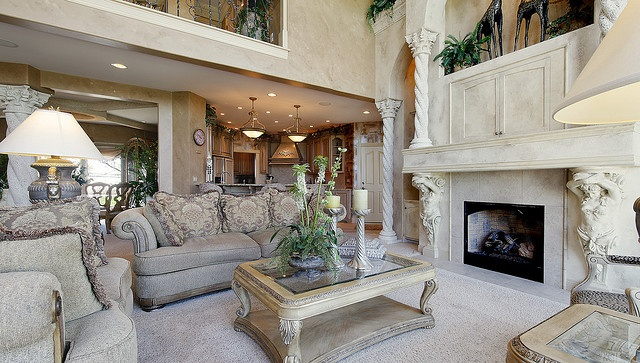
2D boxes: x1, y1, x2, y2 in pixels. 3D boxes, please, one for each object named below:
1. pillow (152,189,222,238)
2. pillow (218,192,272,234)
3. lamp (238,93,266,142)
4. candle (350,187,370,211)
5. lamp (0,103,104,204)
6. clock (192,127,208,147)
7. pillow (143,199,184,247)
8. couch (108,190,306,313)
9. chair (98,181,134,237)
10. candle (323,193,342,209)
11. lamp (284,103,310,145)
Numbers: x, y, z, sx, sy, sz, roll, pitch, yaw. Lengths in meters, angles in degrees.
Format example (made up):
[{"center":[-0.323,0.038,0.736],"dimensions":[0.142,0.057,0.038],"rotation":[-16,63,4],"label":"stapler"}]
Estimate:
[{"center":[-1.950,0.507,5.553],"dimensions":[0.724,0.508,0.242],"rotation":[2,-31,-37],"label":"pillow"},{"center":[-1.214,0.502,6.134],"dimensions":[0.950,0.666,0.316],"rotation":[0,3,-32],"label":"pillow"},{"center":[-1.702,-1.619,9.564],"dimensions":[0.743,1.007,0.705],"rotation":[0,10,-11],"label":"lamp"},{"center":[0.513,0.223,4.534],"dimensions":[0.223,0.245,0.143],"rotation":[-1,-1,-44],"label":"candle"},{"center":[-3.260,-0.282,5.065],"dimensions":[1.404,1.323,1.278],"rotation":[2,-1,-28],"label":"lamp"},{"center":[-2.669,-0.968,8.375],"dimensions":[0.080,0.294,0.326],"rotation":[3,0,20],"label":"clock"},{"center":[-2.177,0.576,5.330],"dimensions":[0.555,0.690,0.251],"rotation":[-2,0,4],"label":"pillow"},{"center":[-1.449,0.904,6.199],"dimensions":[1.298,1.468,3.753],"rotation":[9,7,43],"label":"couch"},{"center":[-4.787,0.563,8.471],"dimensions":[0.952,1.065,0.790],"rotation":[-2,-4,30],"label":"chair"},{"center":[0.151,0.248,4.568],"dimensions":[0.181,0.117,0.170],"rotation":[1,-2,4],"label":"candle"},{"center":[-0.691,-1.442,10.553],"dimensions":[0.757,0.928,0.762],"rotation":[-3,-5,40],"label":"lamp"}]
